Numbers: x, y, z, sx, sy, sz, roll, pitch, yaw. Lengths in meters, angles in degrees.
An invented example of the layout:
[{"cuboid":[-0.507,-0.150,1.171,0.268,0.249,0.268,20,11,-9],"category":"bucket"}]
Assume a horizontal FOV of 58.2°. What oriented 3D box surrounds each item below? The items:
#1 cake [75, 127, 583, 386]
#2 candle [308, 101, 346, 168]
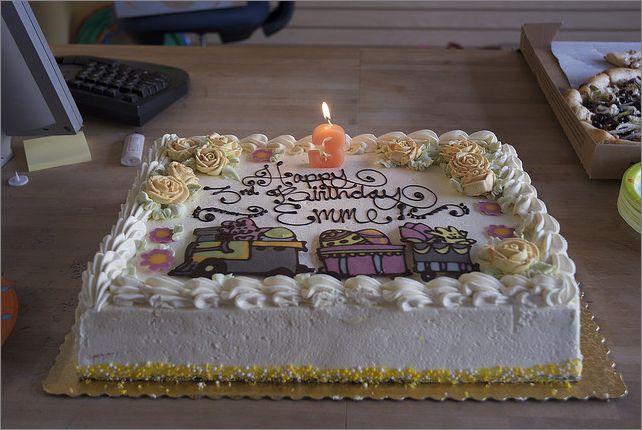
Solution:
[{"cuboid":[0.027,0.101,2.268,1.840,0.269,1.068,1,57,0],"category":"cake"},{"cuboid":[0.029,-0.351,2.615,0.221,0.274,0.244,0,35,0],"category":"candle"}]
